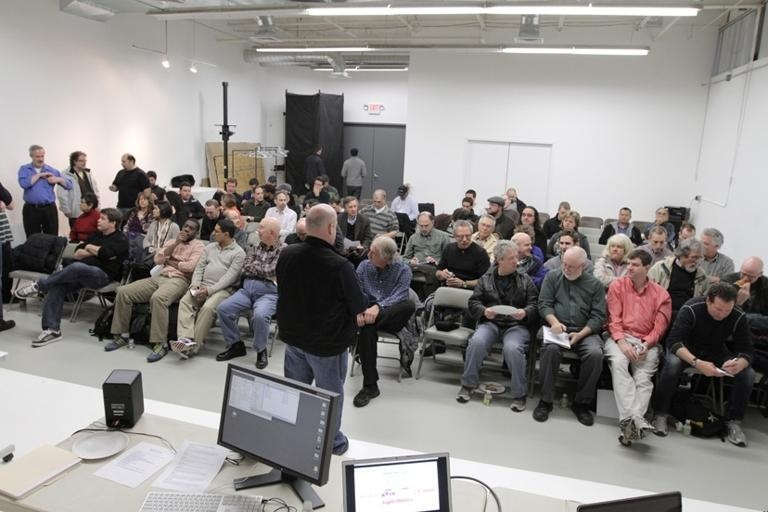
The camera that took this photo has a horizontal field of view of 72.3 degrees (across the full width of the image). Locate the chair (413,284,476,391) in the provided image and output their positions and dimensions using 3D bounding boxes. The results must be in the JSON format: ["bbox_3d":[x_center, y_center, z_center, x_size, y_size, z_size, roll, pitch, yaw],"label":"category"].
[{"bbox_3d":[0.775,0.913,6.159,0.622,1.014,0.659,6,11,12],"label":"chair"}]

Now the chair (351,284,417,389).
[{"bbox_3d":[-0.111,0.744,6.187,0.824,1.299,0.979,0,9,10],"label":"chair"}]

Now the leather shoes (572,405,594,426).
[{"bbox_3d":[2.087,1.663,5.501,0.111,0.104,0.251,-5,4,-12],"label":"leather shoes"}]

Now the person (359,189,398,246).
[{"bbox_3d":[-0.108,-0.679,8.668,0.758,0.817,0.561,14,24,18],"label":"person"}]

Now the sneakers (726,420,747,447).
[{"bbox_3d":[3.537,1.775,5.240,0.125,0.133,0.300,-3,4,12],"label":"sneakers"}]

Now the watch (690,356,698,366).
[{"bbox_3d":[3.072,1.040,5.211,0.043,0.075,0.074,-2,39,12],"label":"watch"}]

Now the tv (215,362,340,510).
[{"bbox_3d":[-0.715,1.244,3.540,0.747,0.672,0.394,12,8,24],"label":"tv"}]

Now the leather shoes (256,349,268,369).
[{"bbox_3d":[-1.431,1.207,6.162,0.103,0.184,0.258,0,6,4],"label":"leather shoes"}]

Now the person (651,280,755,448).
[{"bbox_3d":[3.285,1.033,5.332,0.915,1.582,0.636,6,10,18],"label":"person"}]

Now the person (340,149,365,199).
[{"bbox_3d":[-0.874,-2.432,15.488,0.646,1.490,2.008,3,9,-4],"label":"person"}]

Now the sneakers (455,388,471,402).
[{"bbox_3d":[0.867,1.500,5.694,0.156,0.146,0.134,5,9,6],"label":"sneakers"}]

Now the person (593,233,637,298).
[{"bbox_3d":[2.873,0.056,6.482,0.547,0.627,0.993,4,24,27],"label":"person"}]

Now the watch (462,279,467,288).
[{"bbox_3d":[1.014,0.355,6.547,0.047,0.075,0.065,2,-7,7],"label":"watch"}]

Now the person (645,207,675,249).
[{"bbox_3d":[4.959,-0.369,9.466,0.439,0.926,0.454,11,-3,-39],"label":"person"}]

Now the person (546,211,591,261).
[{"bbox_3d":[2.699,-0.199,7.708,0.598,0.938,0.536,10,10,43],"label":"person"}]

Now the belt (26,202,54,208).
[{"bbox_3d":[-5.522,-0.816,8.421,0.416,0.077,0.130,-3,11,-37],"label":"belt"}]

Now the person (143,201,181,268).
[{"bbox_3d":[-3.130,-0.238,7.281,0.475,1.034,0.493,20,21,40],"label":"person"}]

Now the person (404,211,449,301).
[{"bbox_3d":[0.584,0.077,7.393,0.727,1.245,0.960,0,13,5],"label":"person"}]

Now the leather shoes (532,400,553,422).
[{"bbox_3d":[1.657,1.619,5.497,0.110,0.190,0.296,2,1,27],"label":"leather shoes"}]

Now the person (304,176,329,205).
[{"bbox_3d":[-1.336,-1.373,10.747,0.486,0.489,1.330,2,9,-8],"label":"person"}]

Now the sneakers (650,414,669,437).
[{"bbox_3d":[2.801,1.727,5.315,0.134,0.107,0.258,-4,9,22],"label":"sneakers"}]

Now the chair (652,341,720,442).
[{"bbox_3d":[3.050,1.506,5.554,0.334,0.920,0.676,13,-25,31],"label":"chair"}]

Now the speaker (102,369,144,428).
[{"bbox_3d":[-1.985,1.088,4.015,0.266,0.366,0.255,3,9,1],"label":"speaker"}]

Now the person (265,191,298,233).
[{"bbox_3d":[-1.734,-0.715,8.829,0.498,0.755,0.427,13,24,27],"label":"person"}]

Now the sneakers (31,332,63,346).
[{"bbox_3d":[-4.159,1.020,6.541,0.122,0.151,0.365,6,5,36],"label":"sneakers"}]

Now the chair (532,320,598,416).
[{"bbox_3d":[2.066,1.237,5.724,0.584,0.944,0.688,8,9,27],"label":"chair"}]

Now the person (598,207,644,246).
[{"bbox_3d":[4.244,-0.495,9.334,0.791,0.722,0.507,9,7,18],"label":"person"}]

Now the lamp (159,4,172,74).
[{"bbox_3d":[-4.753,-4.605,11.286,0.285,1.163,1.228,-1,10,-22],"label":"lamp"}]

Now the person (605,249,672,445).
[{"bbox_3d":[2.637,0.883,5.478,0.636,1.031,2.076,8,48,21],"label":"person"}]

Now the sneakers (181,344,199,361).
[{"bbox_3d":[-2.338,1.110,6.323,0.187,0.241,0.322,0,10,-20],"label":"sneakers"}]

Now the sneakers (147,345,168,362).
[{"bbox_3d":[-2.726,1.156,6.327,0.172,0.149,0.299,3,9,-3],"label":"sneakers"}]

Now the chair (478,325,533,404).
[{"bbox_3d":[1.382,1.194,5.740,0.410,0.807,0.472,6,10,17],"label":"chair"}]

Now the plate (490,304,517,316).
[{"bbox_3d":[1.328,0.596,5.780,0.204,0.038,0.136,3,46,11],"label":"plate"}]

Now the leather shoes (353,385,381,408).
[{"bbox_3d":[-0.176,1.497,5.612,0.121,0.151,0.338,3,5,30],"label":"leather shoes"}]
